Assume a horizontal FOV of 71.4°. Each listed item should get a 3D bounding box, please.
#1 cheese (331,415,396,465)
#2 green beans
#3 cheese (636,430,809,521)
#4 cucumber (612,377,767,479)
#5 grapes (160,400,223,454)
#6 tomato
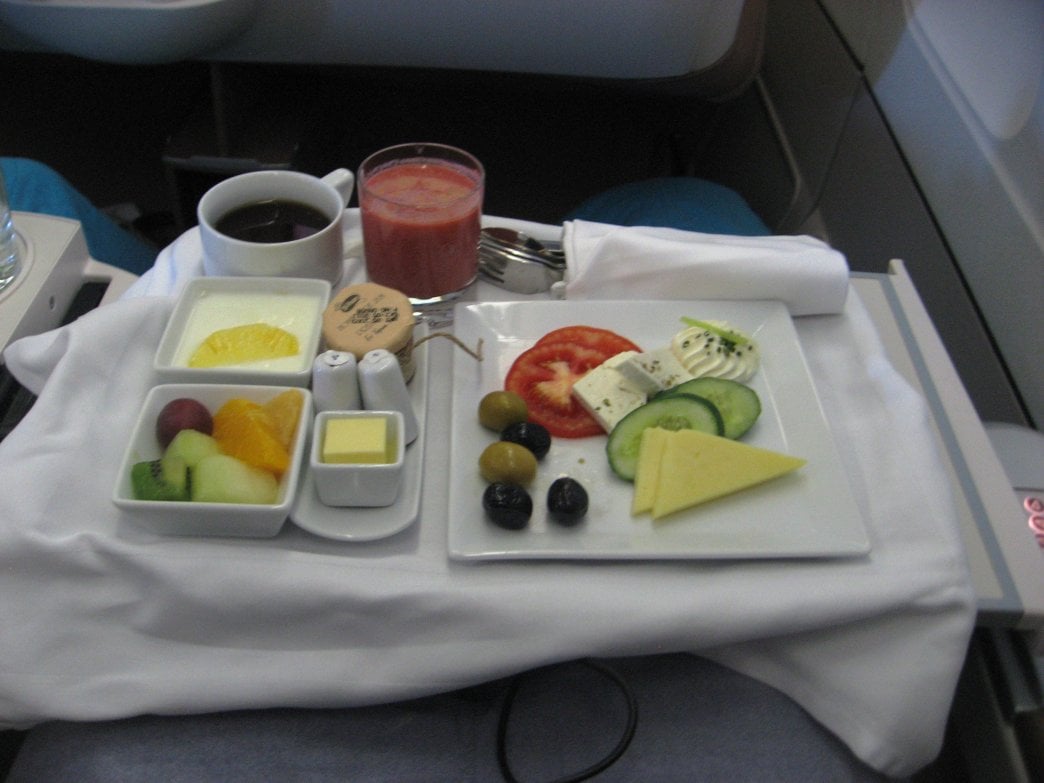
[{"bbox_3d":[-0.181,0.054,0.820,0.053,0.014,0.055,0,53,-2],"label":"cheese"},{"bbox_3d":[0.006,0.088,0.860,0.091,0.048,0.173,-5,50,-14],"label":"green beans"},{"bbox_3d":[0.245,0.092,0.882,0.184,0.033,0.129,-5,48,7],"label":"cheese"},{"bbox_3d":[0.208,0.043,0.937,0.176,0.021,0.113,-26,85,-12],"label":"cucumber"},{"bbox_3d":[-0.386,0.045,0.833,0.052,0.030,0.061,-13,90,-24],"label":"grapes"},{"bbox_3d":[0.074,-0.004,1.064,0.170,0.126,0.200,-28,45,-35],"label":"tomato"}]
